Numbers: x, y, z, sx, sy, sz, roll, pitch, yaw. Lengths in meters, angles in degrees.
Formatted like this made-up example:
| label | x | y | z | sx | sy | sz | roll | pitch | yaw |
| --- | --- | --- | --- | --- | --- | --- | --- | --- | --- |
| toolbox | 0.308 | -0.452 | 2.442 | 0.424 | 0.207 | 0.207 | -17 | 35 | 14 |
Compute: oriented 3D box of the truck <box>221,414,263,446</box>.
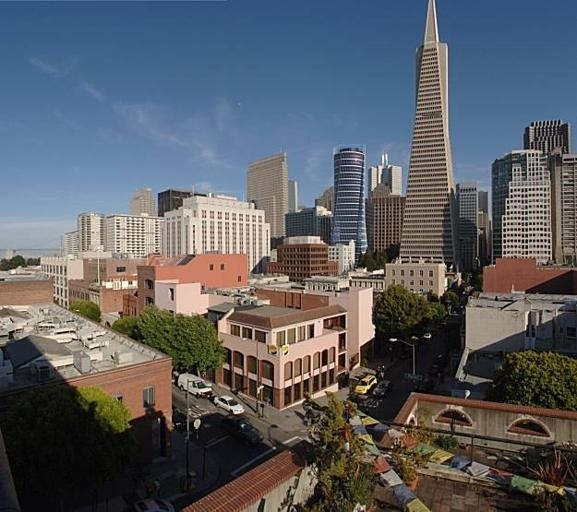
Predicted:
| label | x | y | z | sx | sy | sz | roll | pitch | yaw |
| --- | --- | --- | --- | --- | --- | --- | --- | --- | --- |
| truck | -3.584 | 13.552 | 44.420 | 1.407 | 1.247 | 3.080 | -1 | 1 | -40 |

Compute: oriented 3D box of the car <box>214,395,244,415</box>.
| label | x | y | z | sx | sy | sz | roll | pitch | yaw |
| --- | --- | --- | --- | --- | --- | --- | --- | --- | --- |
| car | -5.335 | 13.040 | 50.058 | 1.182 | 0.994 | 2.714 | -3 | 3 | -43 |

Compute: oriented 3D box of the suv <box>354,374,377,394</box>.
| label | x | y | z | sx | sy | sz | roll | pitch | yaw |
| --- | --- | --- | --- | --- | --- | --- | --- | --- | --- |
| suv | 7.646 | 12.815 | 56.541 | 1.112 | 1.064 | 2.743 | -3 | -4 | 27 |
